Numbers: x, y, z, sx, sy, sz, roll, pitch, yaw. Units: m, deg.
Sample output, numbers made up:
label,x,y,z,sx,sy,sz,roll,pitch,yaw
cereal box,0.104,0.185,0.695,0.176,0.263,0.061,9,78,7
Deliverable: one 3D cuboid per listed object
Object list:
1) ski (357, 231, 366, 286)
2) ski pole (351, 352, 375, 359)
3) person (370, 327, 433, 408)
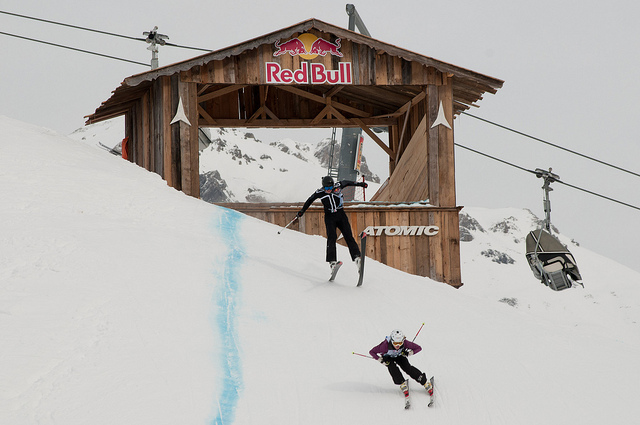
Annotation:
label,x,y,z,sx,sy,sz,roll,pitch,yaw
ski,0.902,0.934,18.878,0.131,1.385,0.187,-1,6,-6
ski pole,0.812,2.722,16.709,0.364,0.052,0.052,22,40,-10
person,1.607,2.882,16.536,1.217,1.359,1.076,9,2,19
